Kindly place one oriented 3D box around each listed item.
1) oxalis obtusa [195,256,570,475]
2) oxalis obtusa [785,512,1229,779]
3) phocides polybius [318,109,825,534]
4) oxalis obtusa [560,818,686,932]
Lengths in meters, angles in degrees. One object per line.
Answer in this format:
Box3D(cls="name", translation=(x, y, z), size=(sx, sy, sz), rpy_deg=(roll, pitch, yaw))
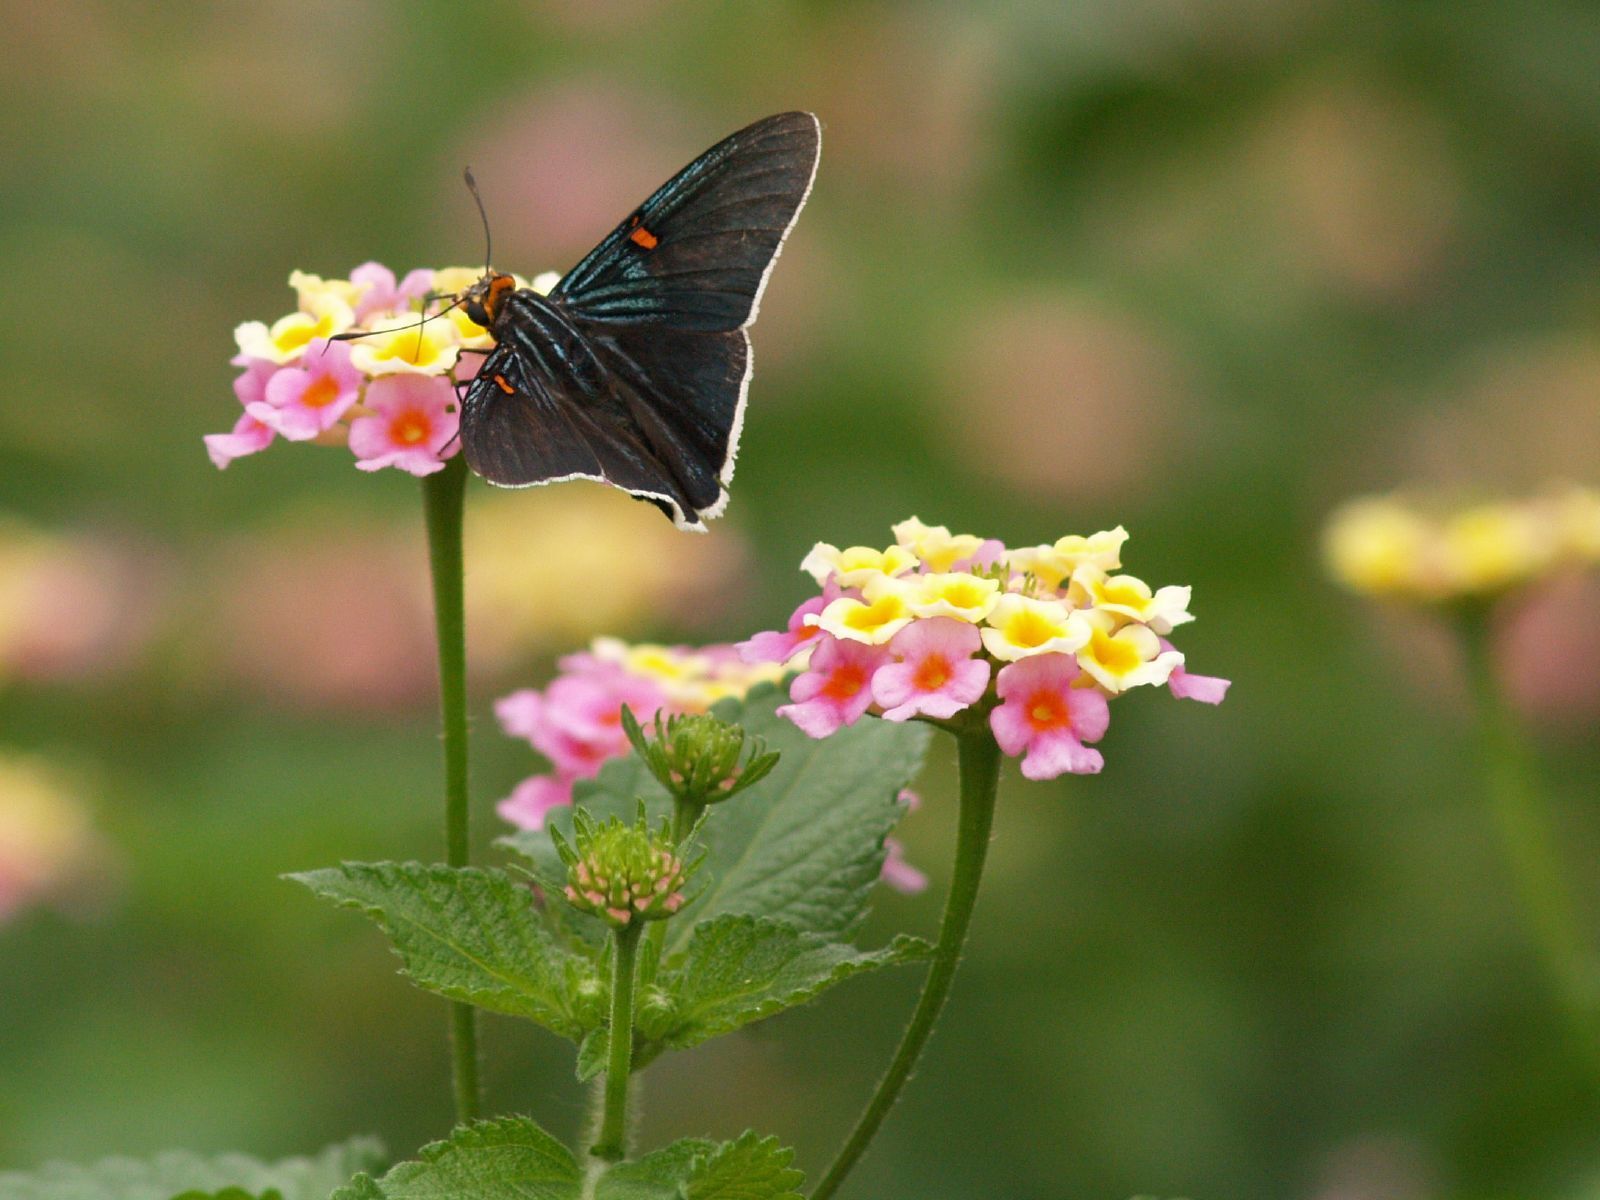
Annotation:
Box3D(cls="oxalis obtusa", translation=(-0.425, -0.213, 1.630), size=(0.243, 0.280, 0.145), rpy_deg=(10, -51, -12))
Box3D(cls="oxalis obtusa", translation=(0.162, 0.038, 1.499), size=(0.360, 0.288, 0.120), rpy_deg=(-3, -49, -3))
Box3D(cls="phocides polybius", translation=(-0.188, -0.318, 1.738), size=(0.432, 0.404, 0.430), rpy_deg=(0, -73, -3))
Box3D(cls="oxalis obtusa", translation=(-0.141, 0.220, 1.386), size=(0.090, 0.070, 0.053), rpy_deg=(10, -52, -12))
